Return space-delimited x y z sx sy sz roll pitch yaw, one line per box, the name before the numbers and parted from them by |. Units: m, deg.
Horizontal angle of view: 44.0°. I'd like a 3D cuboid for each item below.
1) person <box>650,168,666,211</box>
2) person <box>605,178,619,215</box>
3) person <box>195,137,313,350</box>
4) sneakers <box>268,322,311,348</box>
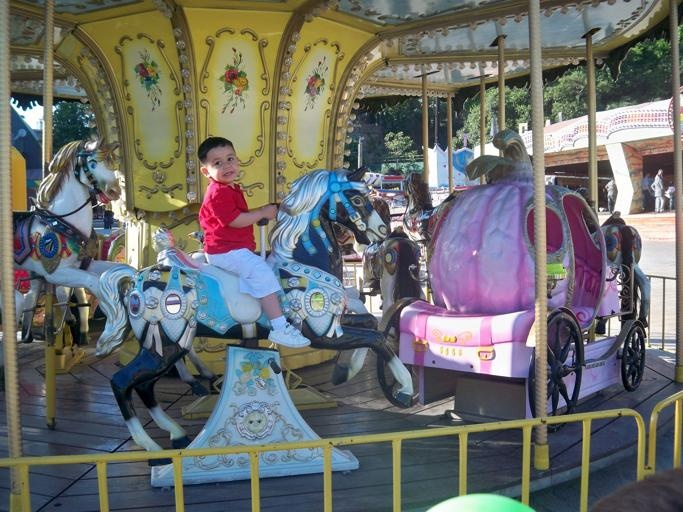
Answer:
person | 10.084 -2.071 26.971 0.348 1.285 3.000 -2 6 20
person | 9.009 -2.042 28.178 0.353 1.117 2.241 -2 6 17
person | -0.726 -0.111 6.625 0.812 1.659 0.361 -3 5 8
sneakers | -0.397 0.619 6.590 0.282 0.146 0.159 6 4 3
